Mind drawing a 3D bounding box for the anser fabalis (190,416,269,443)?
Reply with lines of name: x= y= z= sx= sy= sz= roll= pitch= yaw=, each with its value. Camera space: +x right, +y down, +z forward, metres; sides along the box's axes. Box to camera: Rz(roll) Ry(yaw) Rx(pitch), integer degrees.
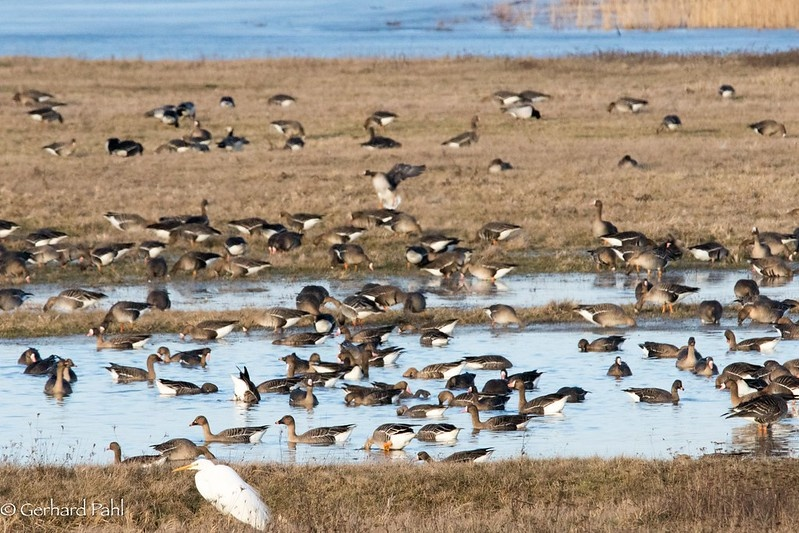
anser fabalis: x=-5.240 y=5.042 z=50.552 sx=2.277 sy=0.867 sz=0.710 roll=-2 pitch=13 yaw=-1
